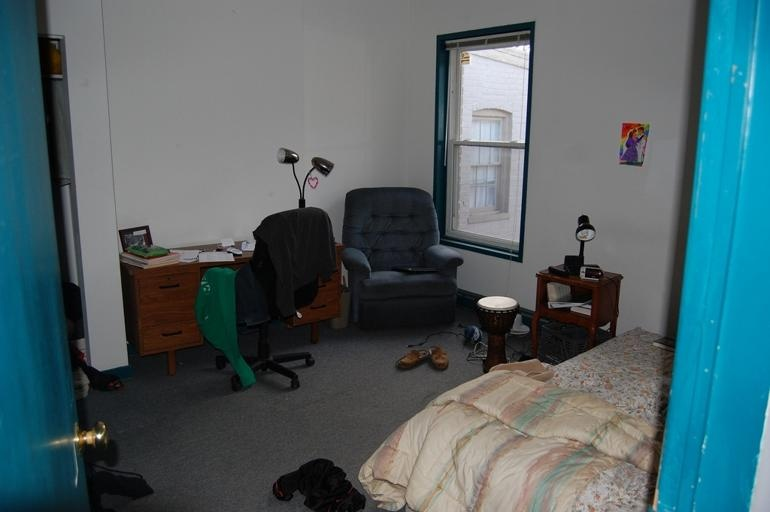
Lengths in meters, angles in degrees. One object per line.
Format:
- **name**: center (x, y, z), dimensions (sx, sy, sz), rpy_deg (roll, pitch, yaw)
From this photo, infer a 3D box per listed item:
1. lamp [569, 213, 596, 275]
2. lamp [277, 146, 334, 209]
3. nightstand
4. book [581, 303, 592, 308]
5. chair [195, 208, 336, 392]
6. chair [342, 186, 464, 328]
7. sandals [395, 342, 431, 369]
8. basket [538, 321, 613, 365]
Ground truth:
- **lamp**: center (1.551, -0.115, 4.156), dimensions (0.140, 0.432, 0.536), rpy_deg (3, 13, 21)
- **lamp**: center (-0.702, -0.705, 4.846), dimensions (0.457, 0.536, 0.827), rpy_deg (-4, 12, -7)
- **nightstand**: center (1.411, 0.320, 4.362), dimensions (0.690, 0.909, 0.682), rpy_deg (-11, 15, -43)
- **book**: center (1.493, 0.370, 3.966), dimensions (0.041, 0.038, 0.010), rpy_deg (5, -6, 10)
- **chair**: center (-0.877, 0.307, 3.937), dimensions (1.024, 1.175, 0.935), rpy_deg (-4, 3, -29)
- **chair**: center (0.107, -0.004, 5.075), dimensions (1.078, 1.211, 1.076), rpy_deg (-3, 11, -17)
- **sandals**: center (0.219, 0.805, 4.281), dimensions (0.118, 0.105, 0.285), rpy_deg (4, 7, 42)
- **basket**: center (1.470, 0.677, 4.213), dimensions (0.327, 0.421, 0.429), rpy_deg (-10, 14, -33)
